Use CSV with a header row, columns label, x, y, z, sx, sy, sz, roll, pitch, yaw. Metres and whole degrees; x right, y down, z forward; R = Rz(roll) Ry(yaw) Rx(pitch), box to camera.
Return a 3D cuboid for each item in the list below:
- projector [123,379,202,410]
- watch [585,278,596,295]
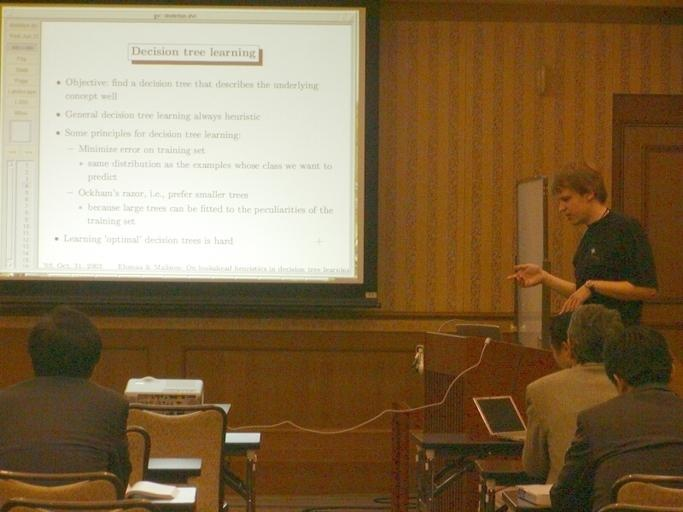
label,x,y,z,sx,sy,sz,roll,pitch,yaw
projector,-1.005,0.778,6.340,0.333,0.156,0.287,3,2,-28
watch,1.497,0.192,6.695,0.023,0.078,0.054,-18,1,14
